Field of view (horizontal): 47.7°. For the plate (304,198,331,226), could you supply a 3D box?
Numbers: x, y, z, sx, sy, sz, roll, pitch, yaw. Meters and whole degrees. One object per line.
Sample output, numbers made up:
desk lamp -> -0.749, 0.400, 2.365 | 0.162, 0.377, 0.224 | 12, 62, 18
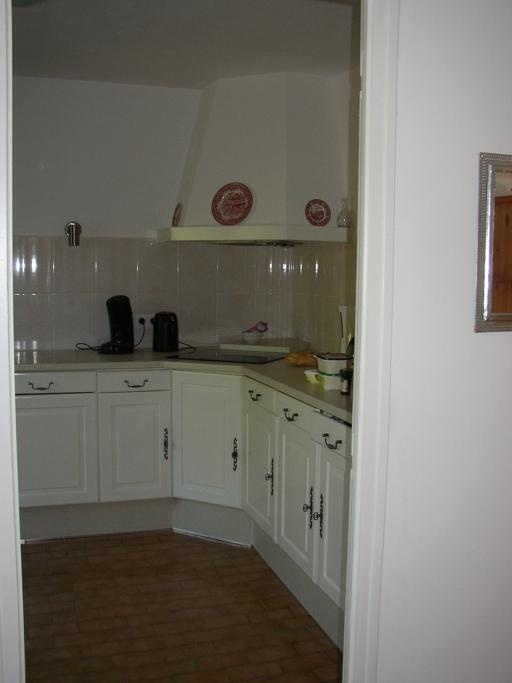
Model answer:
plate -> 0.305, -0.613, 2.751 | 0.141, 0.125, 0.029 | 0, 3, -10

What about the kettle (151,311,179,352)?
kettle -> -0.541, -0.049, 3.190 | 0.138, 0.246, 0.208 | -1, 9, -17

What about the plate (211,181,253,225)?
plate -> -0.132, -0.661, 2.799 | 0.233, 0.206, 0.069 | 2, 3, 36

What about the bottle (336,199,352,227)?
bottle -> 0.420, -0.592, 2.685 | 0.065, 0.131, 0.076 | -2, 3, -36

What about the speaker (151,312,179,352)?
speaker -> -0.541, -0.044, 3.187 | 0.139, 0.246, 0.209 | -1, 8, -17

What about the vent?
vent -> -0.038, -0.514, 2.769 | 0.979, 0.087, 0.138 | 1, 3, 16

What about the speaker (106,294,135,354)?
speaker -> -0.796, -0.092, 3.152 | 0.146, 0.308, 0.151 | 0, 3, -17

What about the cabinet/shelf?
cabinet/shelf -> -0.314, 0.472, 2.494 | 1.723, 0.648, 0.645 | 2, 3, 32

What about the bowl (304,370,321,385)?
bowl -> 0.234, 0.140, 2.270 | 0.048, 0.037, 0.044 | -1, 9, 0

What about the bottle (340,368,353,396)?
bottle -> 0.326, 0.142, 2.001 | 0.039, 0.088, 0.066 | 1, 3, 5
